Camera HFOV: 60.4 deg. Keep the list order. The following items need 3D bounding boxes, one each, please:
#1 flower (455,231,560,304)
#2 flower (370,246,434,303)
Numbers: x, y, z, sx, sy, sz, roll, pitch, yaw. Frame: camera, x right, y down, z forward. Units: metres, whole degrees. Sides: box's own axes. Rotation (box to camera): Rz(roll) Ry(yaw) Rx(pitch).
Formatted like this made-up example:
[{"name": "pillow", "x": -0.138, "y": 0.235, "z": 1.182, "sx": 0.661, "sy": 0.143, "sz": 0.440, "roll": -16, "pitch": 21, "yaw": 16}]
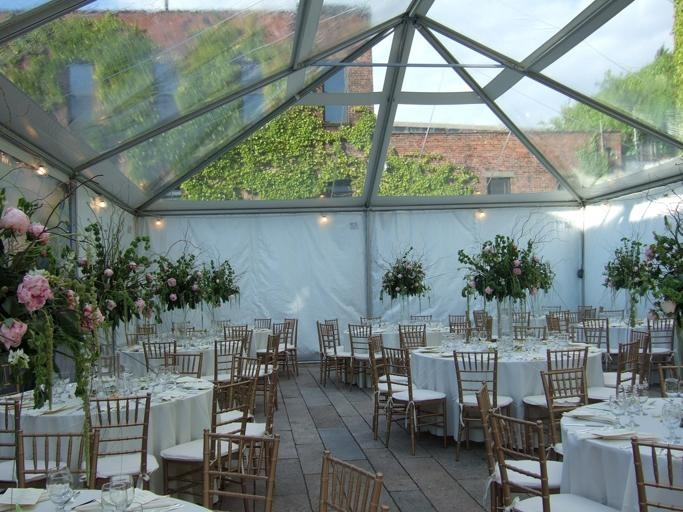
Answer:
[{"name": "flower", "x": 2.233, "y": 0.312, "z": 8.289, "sx": 1.493, "sy": 1.345, "sz": 1.638, "roll": 0, "pitch": 0, "yaw": 15}, {"name": "flower", "x": 1.137, "y": 0.295, "z": 11.282, "sx": 0.929, "sy": 1.177, "sz": 0.980, "roll": -4, "pitch": -6, "yaw": 22}]
